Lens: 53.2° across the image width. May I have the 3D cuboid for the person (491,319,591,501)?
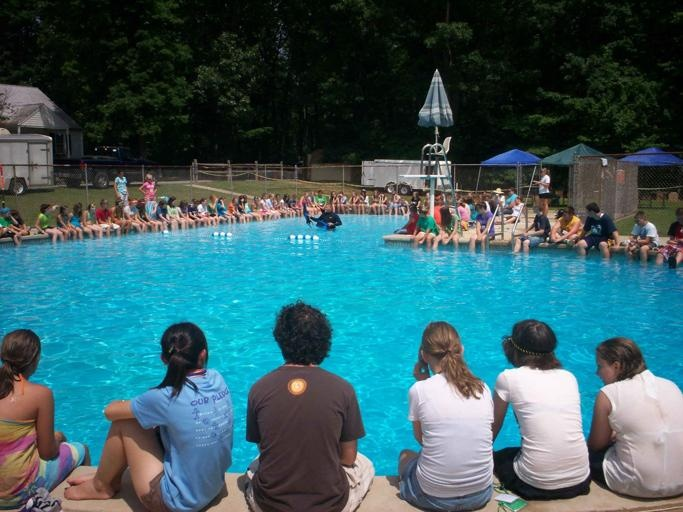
[{"bbox_3d":[1.906,1.462,6.847,1.131,1.563,1.229,0,4,20],"label":"person"}]
